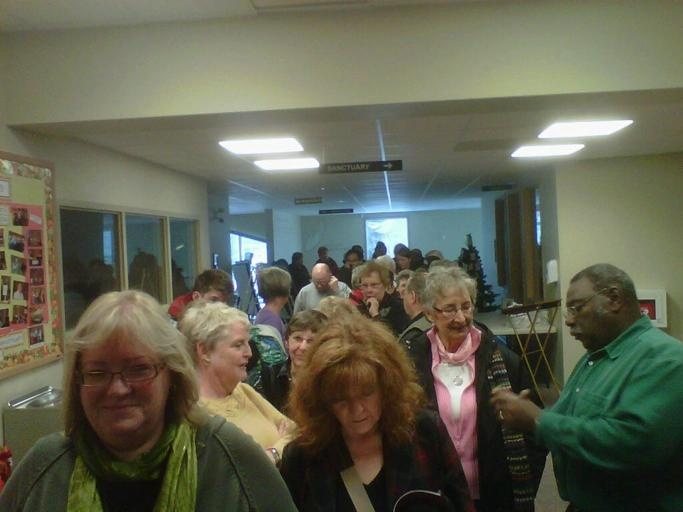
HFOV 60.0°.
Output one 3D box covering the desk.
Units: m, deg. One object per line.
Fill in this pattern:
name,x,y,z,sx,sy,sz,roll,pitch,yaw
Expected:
desk,2.027,1.068,6.653,0.742,0.968,0.675,0,-2,11
